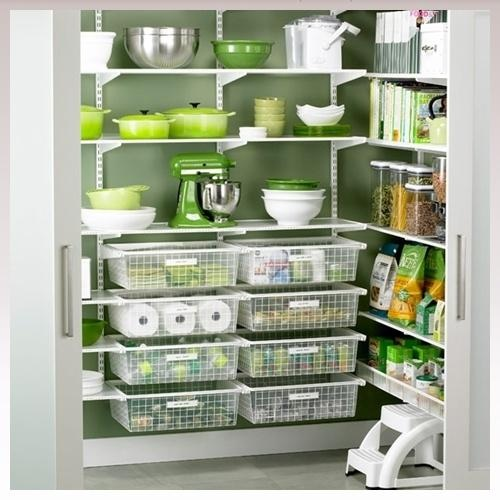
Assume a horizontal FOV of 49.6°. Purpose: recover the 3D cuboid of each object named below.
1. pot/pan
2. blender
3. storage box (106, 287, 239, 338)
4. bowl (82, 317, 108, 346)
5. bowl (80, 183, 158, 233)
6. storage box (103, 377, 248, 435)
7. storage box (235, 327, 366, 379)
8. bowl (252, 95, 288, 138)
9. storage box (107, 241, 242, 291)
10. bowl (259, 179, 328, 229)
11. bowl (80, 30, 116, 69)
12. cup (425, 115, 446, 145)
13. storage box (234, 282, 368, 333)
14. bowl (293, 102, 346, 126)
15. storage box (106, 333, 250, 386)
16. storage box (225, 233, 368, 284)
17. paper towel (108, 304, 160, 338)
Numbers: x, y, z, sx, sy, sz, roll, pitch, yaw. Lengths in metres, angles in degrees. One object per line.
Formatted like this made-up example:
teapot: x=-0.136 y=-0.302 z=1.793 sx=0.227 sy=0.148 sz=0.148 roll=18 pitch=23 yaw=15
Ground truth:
pot/pan: x=-0.477 y=-0.639 z=2.721 sx=0.711 sy=0.183 sz=0.331 roll=-4 pitch=9 yaw=-15
blender: x=-0.203 y=-0.312 z=2.788 sx=0.423 sy=0.352 sz=0.246 roll=1 pitch=13 yaw=14
storage box: x=-0.391 y=0.328 z=2.770 sx=0.534 sy=0.157 sz=0.306 roll=-1 pitch=2 yaw=-14
bowl: x=-0.771 y=0.411 z=2.715 sx=0.137 sy=0.077 sz=0.126 roll=0 pitch=0 yaw=0
bowl: x=-0.617 y=-0.201 z=2.570 sx=0.248 sy=0.123 sz=0.277 roll=-2 pitch=2 yaw=-30
storage box: x=-0.380 y=0.748 z=2.826 sx=0.573 sy=0.169 sz=0.340 roll=-1 pitch=3 yaw=-16
storage box: x=0.278 y=0.547 z=2.983 sx=0.607 sy=0.165 sz=0.361 roll=-3 pitch=3 yaw=0
bowl: x=0.110 y=-0.696 z=2.808 sx=0.202 sy=0.195 sz=0.198 roll=-1 pitch=7 yaw=0
storage box: x=-0.385 y=0.088 z=2.747 sx=0.531 sy=0.145 sz=0.314 roll=-2 pitch=5 yaw=-17
bowl: x=0.232 y=-0.230 z=2.759 sx=0.281 sy=0.172 sz=0.279 roll=1 pitch=3 yaw=0
bowl: x=-0.707 y=-0.930 z=2.534 sx=0.100 sy=0.191 sz=0.149 roll=4 pitch=11 yaw=35
cup: x=0.834 y=-0.533 z=2.399 sx=0.141 sy=0.115 sz=0.098 roll=1 pitch=8 yaw=19
storage box: x=0.268 y=0.310 z=2.905 sx=0.535 sy=0.146 sz=0.318 roll=-2 pitch=3 yaw=-15
bowl: x=0.366 y=-0.694 z=2.813 sx=0.236 sy=0.109 sz=0.082 roll=-1 pitch=9 yaw=5
storage box: x=-0.380 y=0.559 z=2.784 sx=0.558 sy=0.152 sz=0.333 roll=-1 pitch=3 yaw=-15
storage box: x=0.213 y=0.086 z=2.951 sx=0.776 sy=0.210 sz=0.382 roll=-1 pitch=-5 yaw=-21
paper towel: x=-0.587 y=0.286 z=2.747 sx=0.190 sy=0.205 sz=0.309 roll=-4 pitch=8 yaw=-26
